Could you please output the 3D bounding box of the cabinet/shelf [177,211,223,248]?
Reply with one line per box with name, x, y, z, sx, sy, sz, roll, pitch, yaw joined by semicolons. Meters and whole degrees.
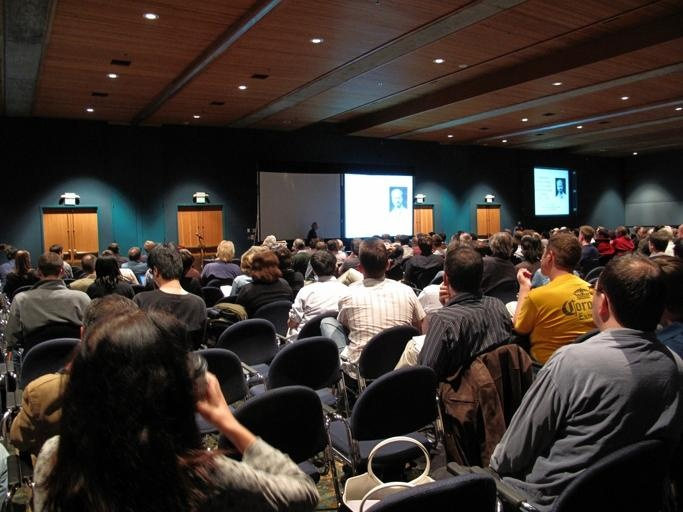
cabinet/shelf;-3.808;-0.725;12.840;1.151;1.154;0.440;-4;13;-27
